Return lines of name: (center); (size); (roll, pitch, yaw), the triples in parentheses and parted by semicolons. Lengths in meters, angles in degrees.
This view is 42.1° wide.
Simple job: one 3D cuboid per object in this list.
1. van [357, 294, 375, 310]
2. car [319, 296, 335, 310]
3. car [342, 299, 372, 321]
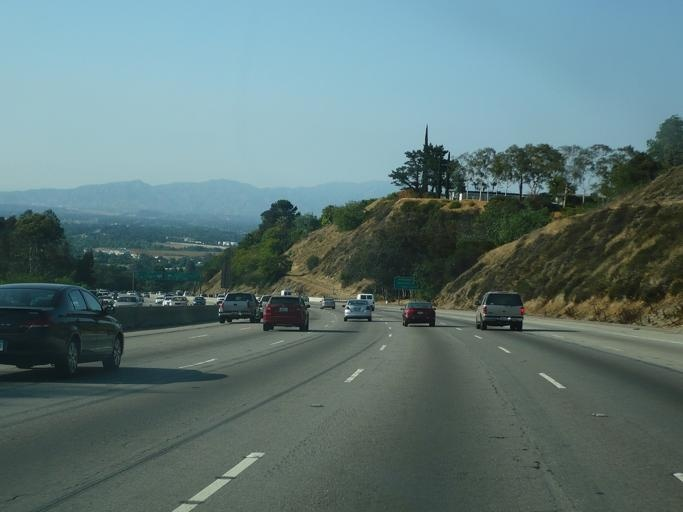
van: (2.295, 3.973, 78.790); (1.079, 0.997, 1.908); (0, -7, -1)
car: (-1.444, 4.775, 90.386); (1.062, 0.912, 2.482); (0, 2, -1)
car: (0.988, 3.267, 53.412); (1.099, 0.877, 2.493); (1, 3, 5)
